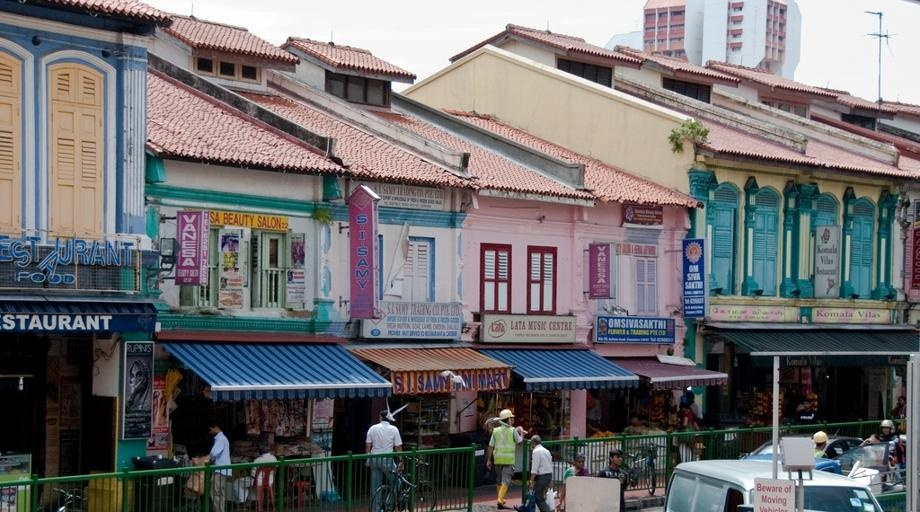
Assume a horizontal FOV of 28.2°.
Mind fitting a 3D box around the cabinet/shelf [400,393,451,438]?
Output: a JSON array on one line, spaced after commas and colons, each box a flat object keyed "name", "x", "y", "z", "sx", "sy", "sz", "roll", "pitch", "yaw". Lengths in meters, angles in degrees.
[{"name": "cabinet/shelf", "x": -1.313, "y": 5.580, "z": 64.376, "sx": 1.924, "sy": 1.550, "sz": 0.710, "roll": 3, "pitch": -6, "yaw": -35}]

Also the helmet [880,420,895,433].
[{"name": "helmet", "x": 14.834, "y": 5.885, "z": 63.311, "sx": 0.453, "sy": 0.384, "sz": 0.537, "roll": -2, "pitch": -13, "yaw": 15}]

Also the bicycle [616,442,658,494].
[{"name": "bicycle", "x": 6.049, "y": 7.033, "z": 60.959, "sx": 1.014, "sy": 1.054, "sz": 1.851, "roll": 1, "pitch": -6, "yaw": -24}]

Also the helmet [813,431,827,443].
[{"name": "helmet", "x": 12.000, "y": 6.021, "z": 60.908, "sx": 0.403, "sy": 0.380, "sz": 0.487, "roll": -5, "pitch": -15, "yaw": 13}]

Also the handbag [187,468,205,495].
[{"name": "handbag", "x": -7.986, "y": 6.833, "z": 55.175, "sx": 0.533, "sy": 0.710, "sz": 0.422, "roll": 0, "pitch": -6, "yaw": -11}]

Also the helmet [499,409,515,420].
[{"name": "helmet", "x": 1.585, "y": 5.278, "z": 60.991, "sx": 0.472, "sy": 0.171, "sz": 0.429, "roll": -5, "pitch": 2, "yaw": -26}]
